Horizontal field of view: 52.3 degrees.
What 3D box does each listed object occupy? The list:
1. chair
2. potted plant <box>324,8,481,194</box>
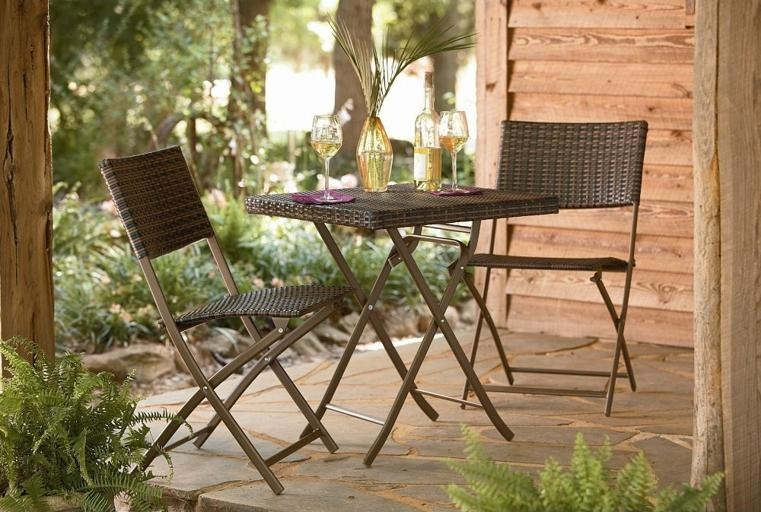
[{"bbox_3d":[0.232,0.129,3.893,2.691,1.519,1.062,-9,16,-30],"label":"chair"},{"bbox_3d":[0.020,-0.718,3.736,0.533,0.812,0.409,13,21,43],"label":"potted plant"}]
